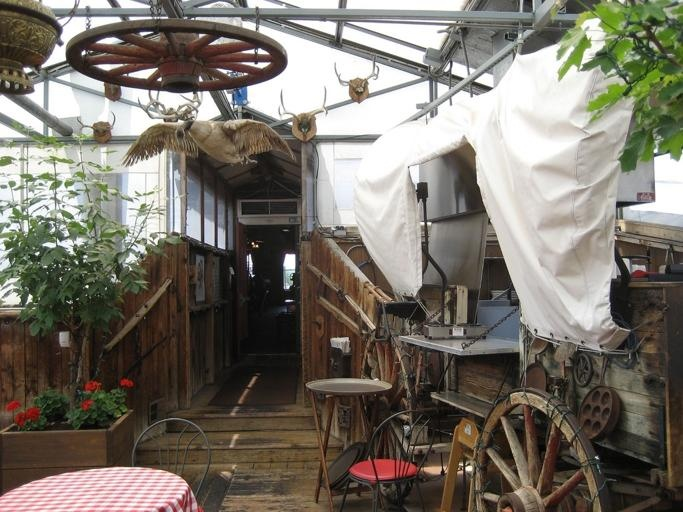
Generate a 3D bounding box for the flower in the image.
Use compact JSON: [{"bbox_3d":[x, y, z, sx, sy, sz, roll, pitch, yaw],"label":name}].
[{"bbox_3d":[-2.544,1.422,5.706,0.965,0.409,0.650,1,-3,-1],"label":"flower"}]
